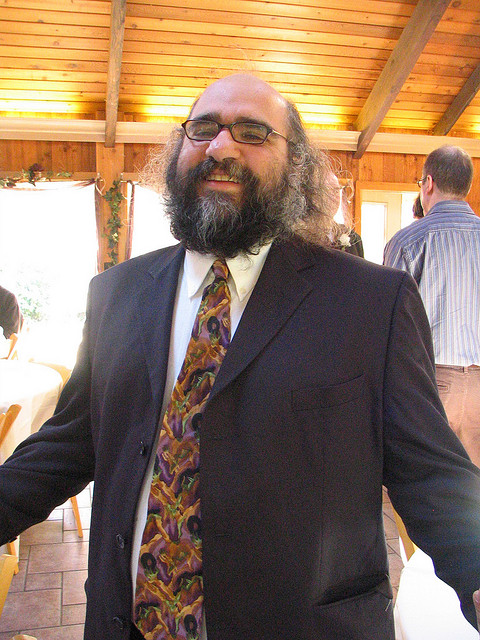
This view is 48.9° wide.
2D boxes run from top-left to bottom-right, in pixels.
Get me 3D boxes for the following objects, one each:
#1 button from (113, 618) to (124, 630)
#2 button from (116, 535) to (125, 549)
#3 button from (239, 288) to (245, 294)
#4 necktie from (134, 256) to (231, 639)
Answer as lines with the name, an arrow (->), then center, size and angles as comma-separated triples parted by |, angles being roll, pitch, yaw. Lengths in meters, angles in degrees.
button -> -0.175, 0.431, 0.758 | 0.023, 0.016, 0.004 | 3, -1, 37
button -> -0.174, 0.321, 0.774 | 0.011, 0.017, 0.006 | -14, -7, 41
button -> 0.003, -0.046, 0.814 | 0.008, 0.008, 0.002 | 2, -8, -16
necktie -> -0.070, 0.173, 0.776 | 0.116, 0.501, 0.135 | 3, -1, 22
